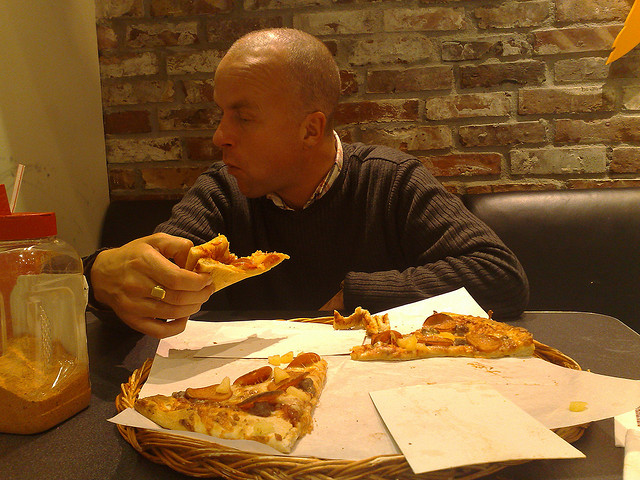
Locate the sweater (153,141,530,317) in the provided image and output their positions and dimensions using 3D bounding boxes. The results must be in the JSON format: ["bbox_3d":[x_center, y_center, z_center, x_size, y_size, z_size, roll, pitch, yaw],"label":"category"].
[{"bbox_3d":[-0.067,-0.093,1.906,1.505,0.440,0.633,6,33,24],"label":"sweater"}]

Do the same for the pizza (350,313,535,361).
[{"bbox_3d":[0.278,0.203,1.184,0.268,0.033,0.147,-2,0,-10],"label":"pizza"}]

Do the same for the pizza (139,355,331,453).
[{"bbox_3d":[-0.109,0.309,1.054,0.277,0.041,0.406,9,14,33],"label":"pizza"}]

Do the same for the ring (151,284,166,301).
[{"bbox_3d":[-0.380,0.123,1.215,0.034,0.037,0.039,9,-5,2],"label":"ring"}]

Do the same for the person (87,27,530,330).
[{"bbox_3d":[0.046,-0.257,1.880,1.585,0.787,1.082,3,6,34],"label":"person"}]

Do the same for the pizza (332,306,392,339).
[{"bbox_3d":[0.107,0.201,1.315,0.167,0.045,0.088,-2,11,42],"label":"pizza"}]
